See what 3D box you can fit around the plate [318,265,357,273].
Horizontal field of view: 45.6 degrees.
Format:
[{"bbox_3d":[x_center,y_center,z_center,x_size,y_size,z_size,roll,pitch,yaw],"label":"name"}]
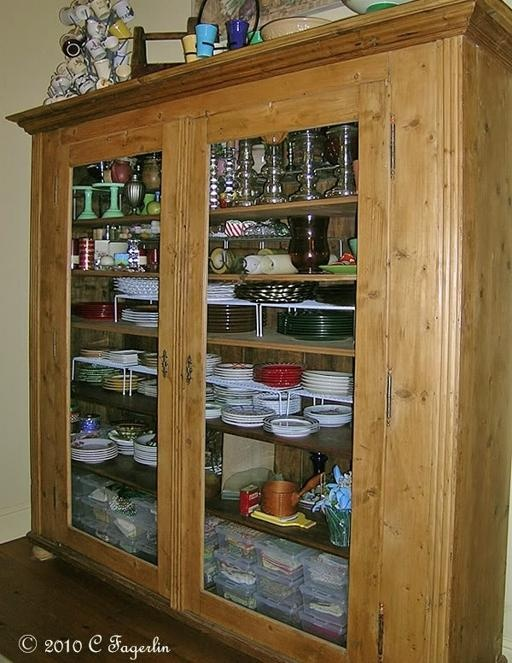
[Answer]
[{"bbox_3d":[0.237,-0.179,1.744,0.046,0.034,0.153,-2,3,-18],"label":"plate"}]
